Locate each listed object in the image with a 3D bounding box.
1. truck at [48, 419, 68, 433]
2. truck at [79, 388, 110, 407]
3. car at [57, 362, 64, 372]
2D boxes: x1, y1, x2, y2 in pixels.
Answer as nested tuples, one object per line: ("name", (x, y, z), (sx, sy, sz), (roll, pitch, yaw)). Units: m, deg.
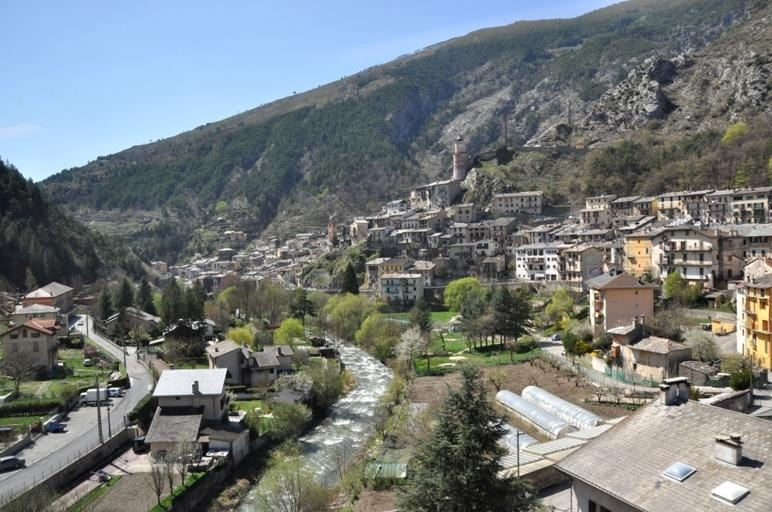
("truck", (-37.534, 19.397, 89.482), (1.877, 1.156, 2.074), (-8, 8, 23))
("truck", (-35.456, 17.208, 95.067), (3.551, 1.584, 2.806), (-15, 8, -21))
("car", (-42.294, 14.410, 101.924), (1.024, 0.782, 2.785), (-15, 8, -24))
